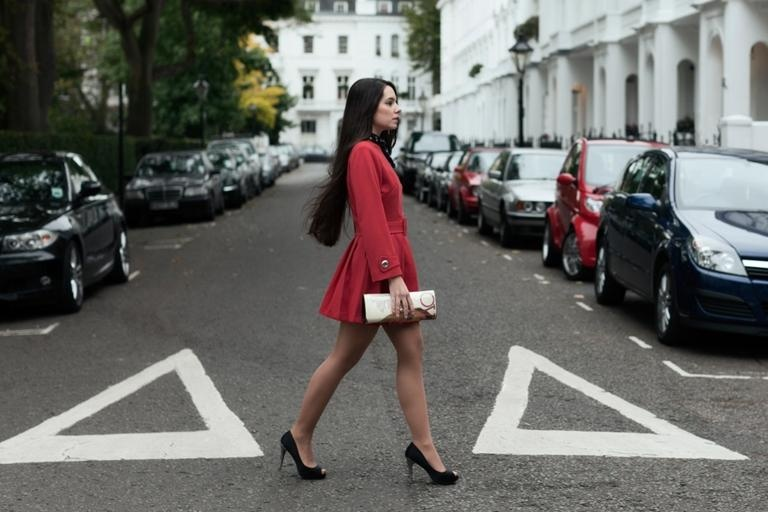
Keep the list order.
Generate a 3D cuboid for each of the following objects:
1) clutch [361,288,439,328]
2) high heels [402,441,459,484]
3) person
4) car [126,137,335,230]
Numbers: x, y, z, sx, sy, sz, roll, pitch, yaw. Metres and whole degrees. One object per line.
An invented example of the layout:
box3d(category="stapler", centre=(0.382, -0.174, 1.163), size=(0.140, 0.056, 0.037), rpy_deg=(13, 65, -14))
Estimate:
box3d(category="clutch", centre=(0.094, 0.324, 4.391), size=(0.442, 0.210, 0.161), rpy_deg=(-1, 7, -2))
box3d(category="high heels", centre=(0.309, 1.311, 4.584), size=(0.337, 0.260, 0.129), rpy_deg=(4, -4, 3))
box3d(category="person", centre=(-0.098, 0.155, 4.644), size=(1.116, 2.597, 0.742), rpy_deg=(0, 3, 8))
box3d(category="car", centre=(-5.644, -2.433, 22.210), size=(2.884, 3.392, 7.612), rpy_deg=(0, 3, -6))
